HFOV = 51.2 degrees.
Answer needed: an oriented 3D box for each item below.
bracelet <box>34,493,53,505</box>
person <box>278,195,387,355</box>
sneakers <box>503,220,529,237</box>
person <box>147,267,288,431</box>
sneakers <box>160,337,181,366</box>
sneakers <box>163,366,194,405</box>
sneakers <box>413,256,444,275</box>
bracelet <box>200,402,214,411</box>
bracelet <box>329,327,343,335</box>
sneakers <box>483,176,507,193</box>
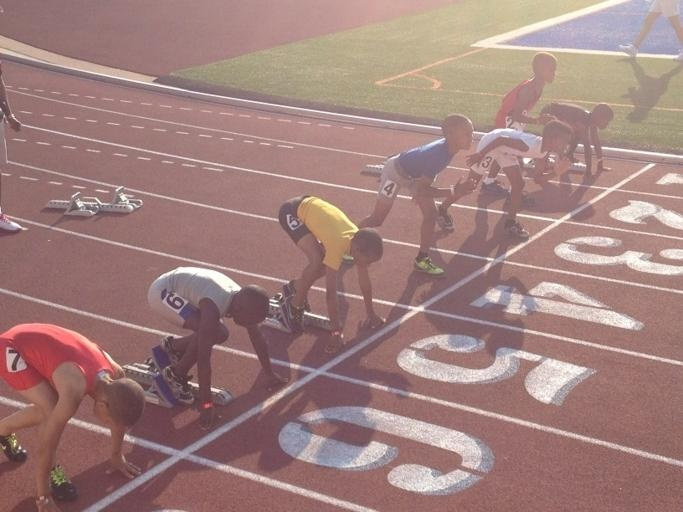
[{"bbox_3d":[-2.922,2.364,6.933,0.115,0.060,0.086,14,-3,-5],"label":"bracelet"},{"bbox_3d":[-0.239,0.212,9.266,1.621,1.621,0.970,23,33,39],"label":"person"},{"bbox_3d":[2.822,-0.453,11.563,0.395,0.206,0.168,28,-8,19],"label":"sneakers"},{"bbox_3d":[-1.561,1.000,8.253,1.497,1.527,1.015,12,27,22],"label":"person"},{"bbox_3d":[-2.036,1.118,8.522,0.145,0.423,0.146,-27,8,-7],"label":"sneakers"},{"bbox_3d":[-1.971,1.532,8.494,0.293,0.460,0.123,-39,14,-12],"label":"sneakers"},{"bbox_3d":[1.345,0.142,10.674,0.541,0.252,0.184,10,32,12],"label":"sneakers"},{"bbox_3d":[-1.516,1.680,8.007,0.098,0.065,0.099,8,11,43],"label":"bracelet"},{"bbox_3d":[-0.076,0.962,9.059,0.118,0.040,0.118,1,14,1],"label":"bracelet"},{"bbox_3d":[2.893,-1.341,13.183,0.597,0.240,0.205,6,35,5],"label":"sneakers"}]
